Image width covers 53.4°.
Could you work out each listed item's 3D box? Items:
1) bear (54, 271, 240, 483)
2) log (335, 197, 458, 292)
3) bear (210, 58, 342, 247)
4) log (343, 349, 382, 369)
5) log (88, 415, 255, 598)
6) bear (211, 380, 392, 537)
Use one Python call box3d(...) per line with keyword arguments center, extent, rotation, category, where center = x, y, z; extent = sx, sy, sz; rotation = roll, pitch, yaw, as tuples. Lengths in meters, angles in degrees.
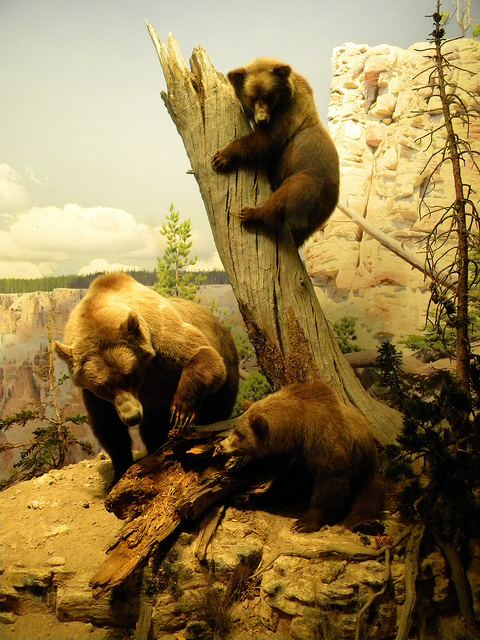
box3d(center=(-0.646, 0.325, 3.531), extent=(0.883, 1.291, 1.779), rotation=(-10, -2, 10), category="bear")
box3d(center=(2.242, -1.037, 6.800), extent=(0.301, 0.353, 2.767), rotation=(-39, 52, -11), category="log")
box3d(center=(0.292, -1.300, 3.553), extent=(0.683, 1.548, 1.026), rotation=(-1, 5, 22), category="bear")
box3d(center=(1.684, 0.532, 6.575), extent=(0.372, 0.165, 0.474), rotation=(-2, 0, -40), category="log")
box3d(center=(-0.342, 1.095, 2.975), extent=(1.182, 0.269, 0.532), rotation=(-23, 42, -36), category="log")
box3d(center=(0.418, 0.863, 3.099), extent=(1.185, 0.845, 0.770), rotation=(6, 7, 4), category="bear")
